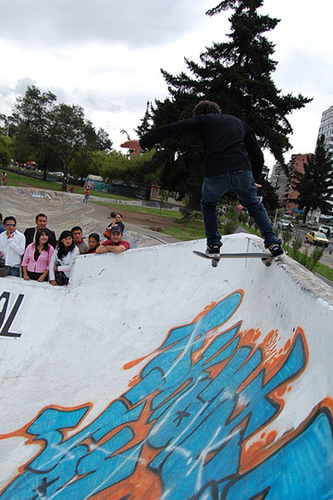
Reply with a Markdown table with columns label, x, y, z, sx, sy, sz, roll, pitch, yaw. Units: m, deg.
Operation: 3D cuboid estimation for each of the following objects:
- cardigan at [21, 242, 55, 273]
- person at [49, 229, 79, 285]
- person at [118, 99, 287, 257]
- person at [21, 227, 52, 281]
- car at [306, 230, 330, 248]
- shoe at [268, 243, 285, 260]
| label | x | y | z | sx | sy | sz | roll | pitch | yaw |
| --- | --- | --- | --- | --- | --- | --- | --- | --- | --- |
| cardigan | -1.918 | 0.152 | 5.338 | 0.461 | 0.475 | 0.385 | -11 | 21 | -29 |
| person | -1.493 | 0.119 | 5.190 | 0.401 | 0.790 | 0.200 | 3 | 13 | -16 |
| person | 0.313 | -0.669 | 3.445 | 1.418 | 1.641 | 0.603 | -4 | -14 | 0 |
| person | -1.906 | 0.057 | 5.249 | 0.410 | 0.778 | 0.288 | 2 | 13 | -20 |
| car | 13.283 | -0.975 | 31.175 | 1.125 | 0.951 | 2.273 | 1 | 9 | -1 |
| shoe | 1.088 | 0.018 | 3.516 | 0.106 | 0.077 | 0.227 | 36 | 29 | -37 |
